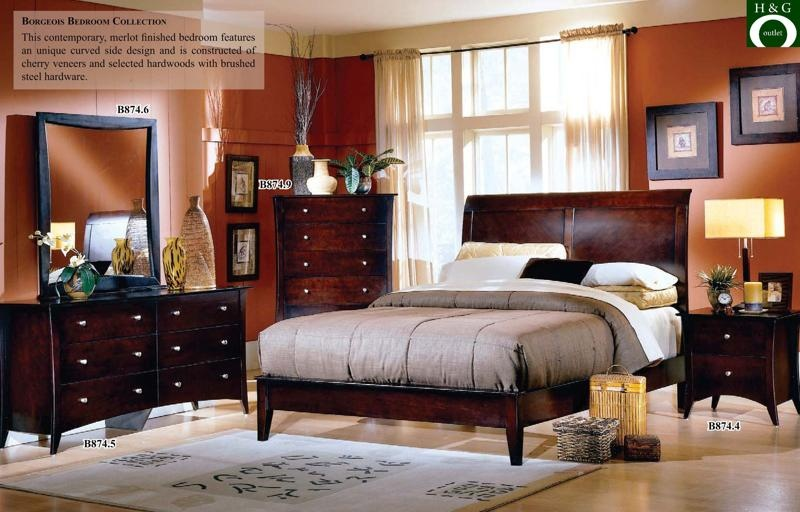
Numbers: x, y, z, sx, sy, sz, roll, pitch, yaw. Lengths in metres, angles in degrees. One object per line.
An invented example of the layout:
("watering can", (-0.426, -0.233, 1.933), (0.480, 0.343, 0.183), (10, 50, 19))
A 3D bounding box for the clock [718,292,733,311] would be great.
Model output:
("clock", (2.614, 0.359, 5.195), (0.137, 0.126, 0.040), (-2, -1, 37))

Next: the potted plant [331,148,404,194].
("potted plant", (-0.440, -0.917, 7.128), (0.942, 0.438, 0.834), (9, 9, 17))

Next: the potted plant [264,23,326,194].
("potted plant", (-1.115, -1.648, 7.359), (0.522, 1.314, 0.944), (-2, 1, -6))

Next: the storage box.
("storage box", (1.488, 1.012, 4.442), (0.377, 0.455, 0.201), (-2, 8, 19))

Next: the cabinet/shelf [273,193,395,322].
("cabinet/shelf", (-0.662, 0.007, 6.567), (1.443, 1.452, 0.645), (-1, 1, -1))

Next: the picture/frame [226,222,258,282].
("picture/frame", (-1.754, -0.039, 7.239), (0.072, 0.469, 0.397), (-1, 1, 39))

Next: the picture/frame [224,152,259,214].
("picture/frame", (-1.770, -0.797, 7.235), (0.059, 0.461, 0.406), (-1, 1, 42))

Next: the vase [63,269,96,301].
("vase", (-2.436, 0.224, 4.933), (0.240, 0.160, 0.195), (-3, 5, -38))

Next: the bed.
("bed", (0.875, 0.211, 5.324), (2.345, 1.757, 2.930), (-1, -2, 33))

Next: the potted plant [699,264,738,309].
("potted plant", (2.599, 0.272, 5.269), (0.289, 0.302, 0.308), (11, -2, -5))

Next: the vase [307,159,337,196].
("vase", (-0.840, -0.823, 6.911), (0.374, 0.362, 0.390), (-5, 7, -44))

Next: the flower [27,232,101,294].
("flower", (-2.562, 0.053, 5.143), (0.569, 0.649, 0.559), (-3, -1, -20))

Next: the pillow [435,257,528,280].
("pillow", (0.756, 0.122, 5.917), (0.383, 0.091, 0.411), (-2, 9, 29))
